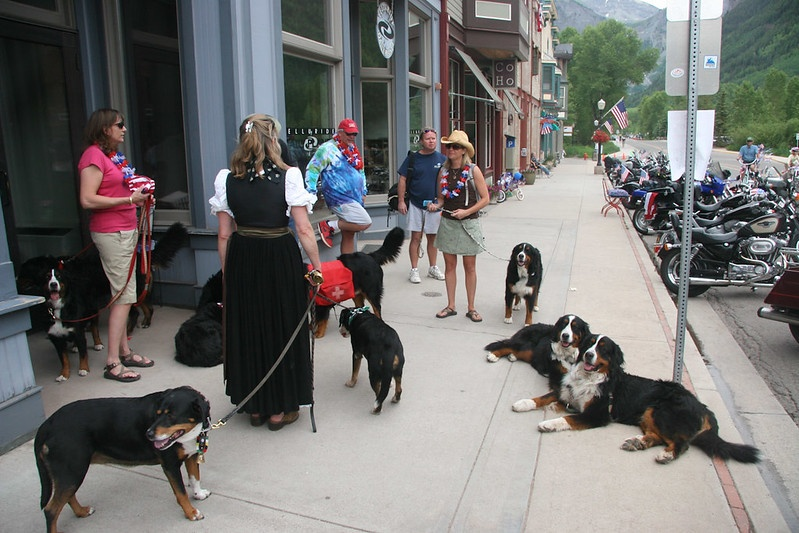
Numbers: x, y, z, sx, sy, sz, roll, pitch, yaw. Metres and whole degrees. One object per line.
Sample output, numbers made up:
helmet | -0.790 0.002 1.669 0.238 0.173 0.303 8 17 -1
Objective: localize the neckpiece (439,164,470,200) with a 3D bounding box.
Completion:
neckpiece | 0.695 -1.044 7.689 0.302 0.415 0.115 8 7 23

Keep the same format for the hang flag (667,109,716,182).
hang flag | 2.766 -1.150 5.963 0.568 0.927 0.083 7 -27 7

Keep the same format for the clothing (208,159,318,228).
clothing | -1.157 -0.513 5.541 0.898 0.520 0.418 -1 13 -4

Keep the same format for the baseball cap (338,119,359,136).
baseball cap | -0.681 -1.844 8.171 0.198 0.180 0.293 -2 15 -24

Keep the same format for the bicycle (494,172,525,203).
bicycle | 3.352 -2.485 19.623 0.740 0.882 1.391 4 10 33

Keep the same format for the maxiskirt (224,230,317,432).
maxiskirt | -1.217 0.444 5.681 0.808 1.704 0.561 5 12 20

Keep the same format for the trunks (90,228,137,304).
trunks | -2.890 -0.006 6.479 0.418 0.788 0.532 -5 6 -12

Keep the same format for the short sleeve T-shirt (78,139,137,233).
short sleeve T-shirt | -3.024 -0.708 6.359 0.474 0.874 0.837 -9 -12 -20

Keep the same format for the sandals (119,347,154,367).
sandals | -2.782 0.980 6.564 0.360 0.157 0.149 5 17 -1

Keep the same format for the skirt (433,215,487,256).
skirt | 0.770 -0.360 7.910 0.669 0.705 0.425 1 5 16

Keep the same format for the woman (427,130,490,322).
woman | 0.751 -0.489 7.745 0.662 2.364 0.670 1 8 16

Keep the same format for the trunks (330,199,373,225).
trunks | -0.620 -0.727 8.372 0.420 0.222 0.323 19 20 -12

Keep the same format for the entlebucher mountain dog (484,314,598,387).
entlebucher mountain dog | 1.471 0.836 6.434 0.594 0.550 1.063 5 -2 -42

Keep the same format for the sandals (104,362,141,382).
sandals | -2.837 1.086 6.325 0.332 0.141 0.180 9 20 13

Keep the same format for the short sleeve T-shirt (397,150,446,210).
short sleeve T-shirt | 0.336 -1.246 9.069 0.943 1.056 0.535 0 13 -6

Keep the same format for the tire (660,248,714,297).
tire | 4.186 0.115 9.081 0.636 0.783 0.491 4 14 25

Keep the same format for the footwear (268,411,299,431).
footwear | -1.059 1.410 5.704 0.124 0.132 0.299 12 21 34

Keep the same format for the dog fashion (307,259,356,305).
dog fashion | -0.718 0.178 6.745 0.544 0.499 0.398 -13 17 -42

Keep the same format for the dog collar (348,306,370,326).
dog collar | -0.396 0.463 6.022 0.100 0.207 0.125 24 9 16
